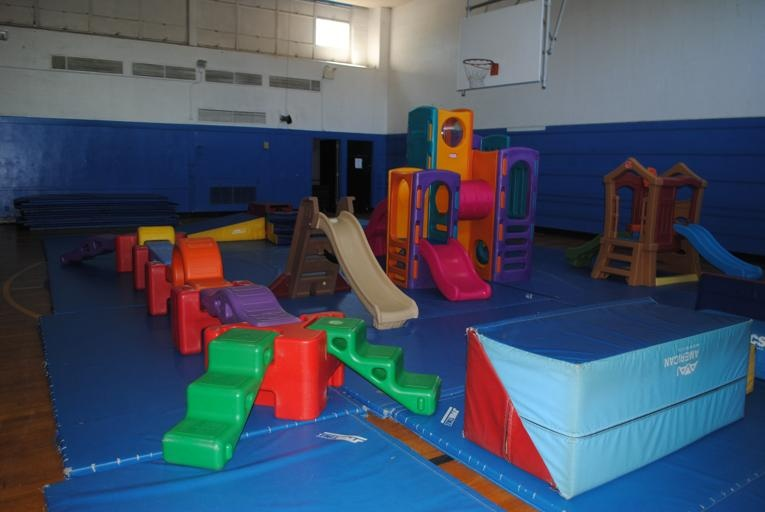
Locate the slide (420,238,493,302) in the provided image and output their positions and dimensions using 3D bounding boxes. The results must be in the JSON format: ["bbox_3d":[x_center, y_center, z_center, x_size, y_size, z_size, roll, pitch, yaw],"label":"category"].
[{"bbox_3d":[0.745,0.149,5.958,0.486,0.428,0.935,-4,30,-26],"label":"slide"}]

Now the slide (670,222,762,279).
[{"bbox_3d":[4.106,-0.092,6.381,0.671,0.552,0.958,-10,16,-27],"label":"slide"}]
